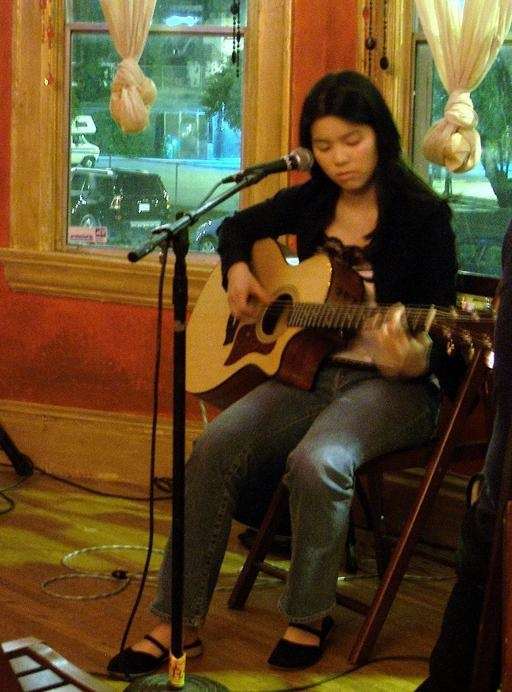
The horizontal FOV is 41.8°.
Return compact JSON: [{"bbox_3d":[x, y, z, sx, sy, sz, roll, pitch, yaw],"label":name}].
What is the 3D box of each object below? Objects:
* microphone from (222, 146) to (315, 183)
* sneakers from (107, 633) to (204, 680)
[{"bbox_3d":[0.052,-0.385,1.388,0.256,0.067,0.073,-18,20,-40],"label":"microphone"},{"bbox_3d":[-0.213,0.629,1.409,0.172,0.045,0.066,-3,4,-36],"label":"sneakers"}]
